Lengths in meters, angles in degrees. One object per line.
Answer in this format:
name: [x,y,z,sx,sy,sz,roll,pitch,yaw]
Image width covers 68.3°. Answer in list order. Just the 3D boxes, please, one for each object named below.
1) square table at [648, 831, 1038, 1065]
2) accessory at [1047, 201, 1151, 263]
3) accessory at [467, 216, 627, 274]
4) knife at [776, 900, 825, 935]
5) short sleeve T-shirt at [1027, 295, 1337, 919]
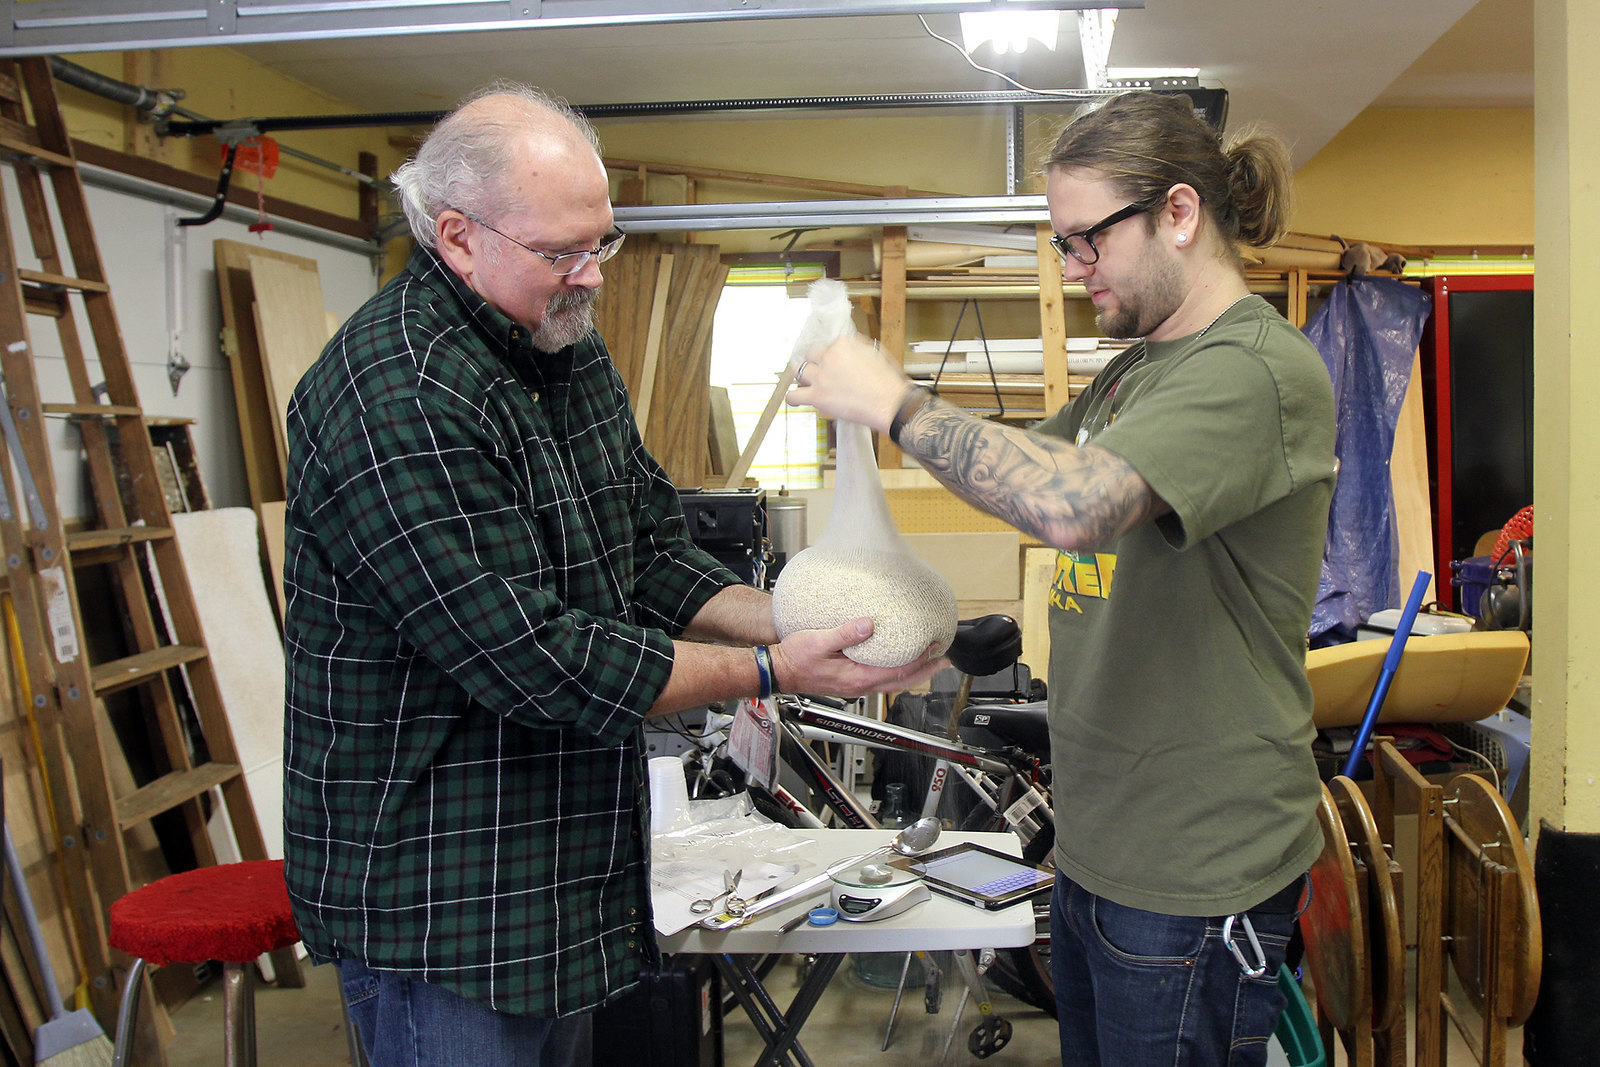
square table: [0.075,0.966,2.898,0.790,0.524,0.626,1,-3,2]
accessory: [0.572,-0.579,2.261,0.120,0.036,0.114,-26,9,-4]
accessory: [-0.488,-0.545,2.216,0.145,0.043,0.142,28,30,9]
knife: [-0.003,0.891,2.725,0.013,0.013,0.113,24,30,29]
short sleeve T-shirt: [0.714,0.138,2.241,0.538,1.163,0.424,0,6,25]
